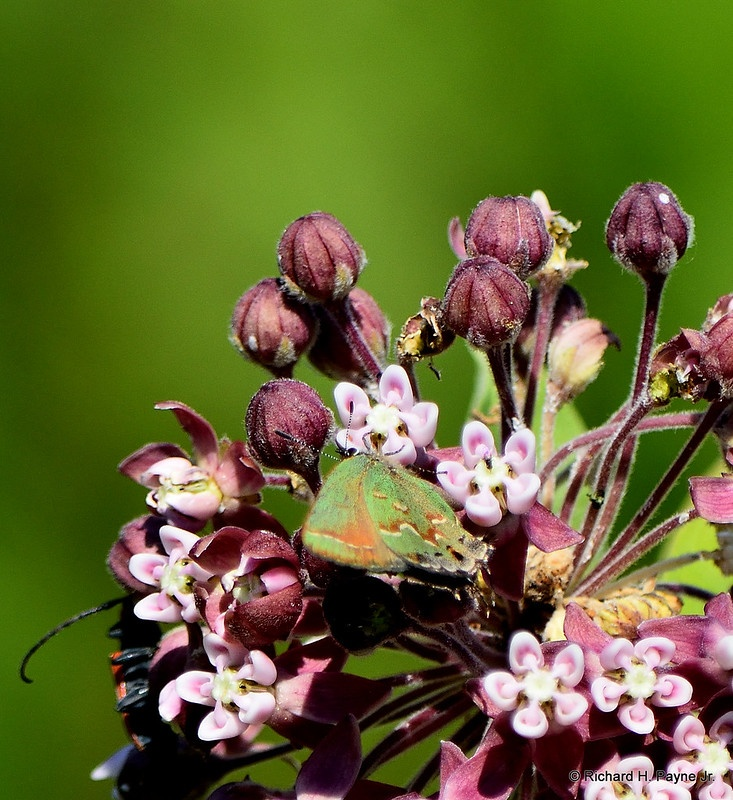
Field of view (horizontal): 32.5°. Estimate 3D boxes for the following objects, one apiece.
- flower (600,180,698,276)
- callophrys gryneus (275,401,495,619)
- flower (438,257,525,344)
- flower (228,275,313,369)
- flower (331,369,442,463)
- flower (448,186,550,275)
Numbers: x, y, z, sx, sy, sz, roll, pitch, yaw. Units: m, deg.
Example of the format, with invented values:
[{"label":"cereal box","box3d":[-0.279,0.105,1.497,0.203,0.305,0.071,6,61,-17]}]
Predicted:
[{"label":"flower","box3d":[0.431,-0.257,1.892,0.135,0.162,0.119,16,45,35]},{"label":"callophrys gryneus","box3d":[0.019,0.121,1.430,0.181,0.127,0.180,-19,15,-32]},{"label":"flower","box3d":[0.159,-0.142,1.761,0.096,0.117,0.122,7,29,3]},{"label":"flower","box3d":[-0.143,-0.113,1.889,0.108,0.145,0.138,-1,-2,-3]},{"label":"flower","box3d":[0.023,0.032,1.624,0.136,0.067,0.168,5,25,-2]},{"label":"flower","box3d":[0.193,-0.243,1.884,0.099,0.128,0.124,0,6,-14]}]
